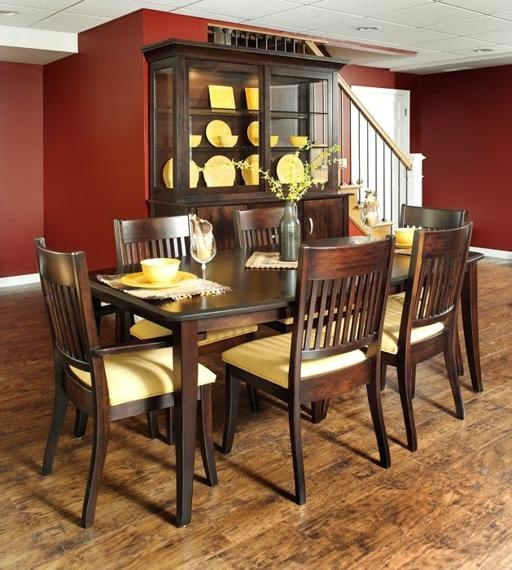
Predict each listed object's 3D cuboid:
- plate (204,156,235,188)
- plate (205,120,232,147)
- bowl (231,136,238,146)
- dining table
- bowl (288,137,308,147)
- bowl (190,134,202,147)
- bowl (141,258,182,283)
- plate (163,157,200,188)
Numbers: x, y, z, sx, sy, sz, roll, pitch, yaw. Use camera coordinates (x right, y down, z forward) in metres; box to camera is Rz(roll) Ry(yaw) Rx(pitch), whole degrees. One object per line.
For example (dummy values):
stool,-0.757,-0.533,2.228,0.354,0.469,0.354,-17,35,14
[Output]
plate,-0.273,-0.856,3.685,0.078,0.241,0.285,8,13,38
plate,-0.281,-1.137,3.669,0.046,0.204,0.233,8,13,38
bowl,-0.165,-1.110,3.767,0.079,0.053,0.072,-2,13,0
dining table,0.061,0.302,1.834,1.274,0.812,0.991,-8,12,-43
bowl,0.344,-1.178,4.014,0.110,0.056,0.112,-1,5,0
bowl,-0.436,-1.041,3.527,0.059,0.066,0.108,13,19,41
bowl,-0.332,-0.066,1.754,0.116,0.057,0.108,-1,11,0
plate,-0.557,-0.808,3.555,0.287,0.209,0.167,0,10,3
